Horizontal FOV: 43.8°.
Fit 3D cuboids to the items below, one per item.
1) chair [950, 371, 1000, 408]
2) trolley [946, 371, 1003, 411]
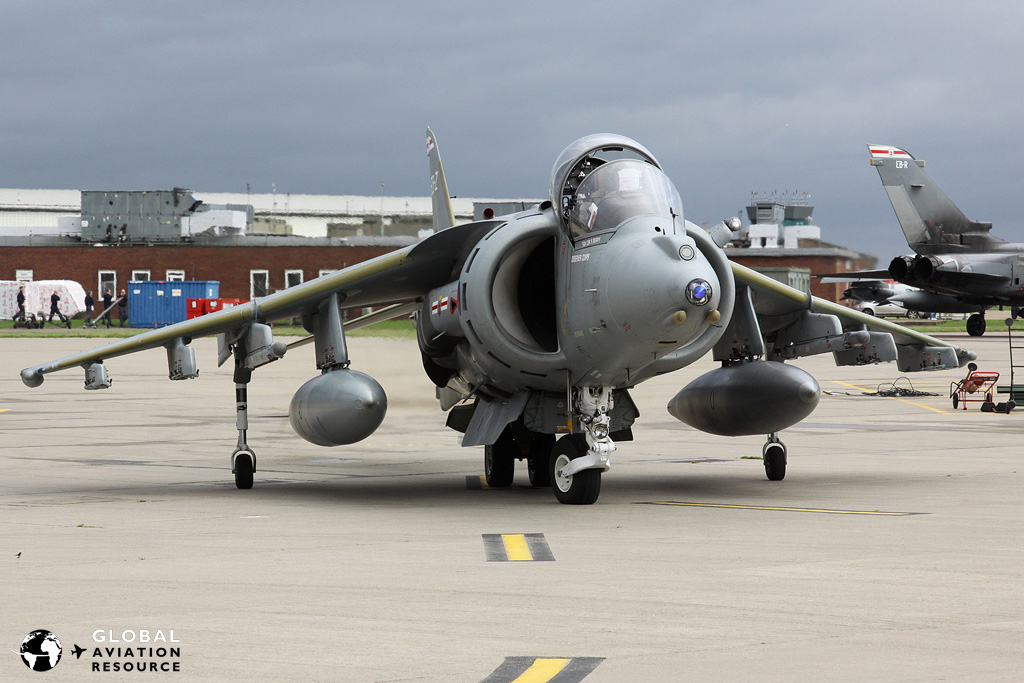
[{"bbox_3d":[11.080,1.116,30.787,1.226,0.910,1.656,1,7,0],"label":"chair"},{"bbox_3d":[11.150,1.103,30.854,1.225,0.966,1.765,1,8,1],"label":"trolley"}]
